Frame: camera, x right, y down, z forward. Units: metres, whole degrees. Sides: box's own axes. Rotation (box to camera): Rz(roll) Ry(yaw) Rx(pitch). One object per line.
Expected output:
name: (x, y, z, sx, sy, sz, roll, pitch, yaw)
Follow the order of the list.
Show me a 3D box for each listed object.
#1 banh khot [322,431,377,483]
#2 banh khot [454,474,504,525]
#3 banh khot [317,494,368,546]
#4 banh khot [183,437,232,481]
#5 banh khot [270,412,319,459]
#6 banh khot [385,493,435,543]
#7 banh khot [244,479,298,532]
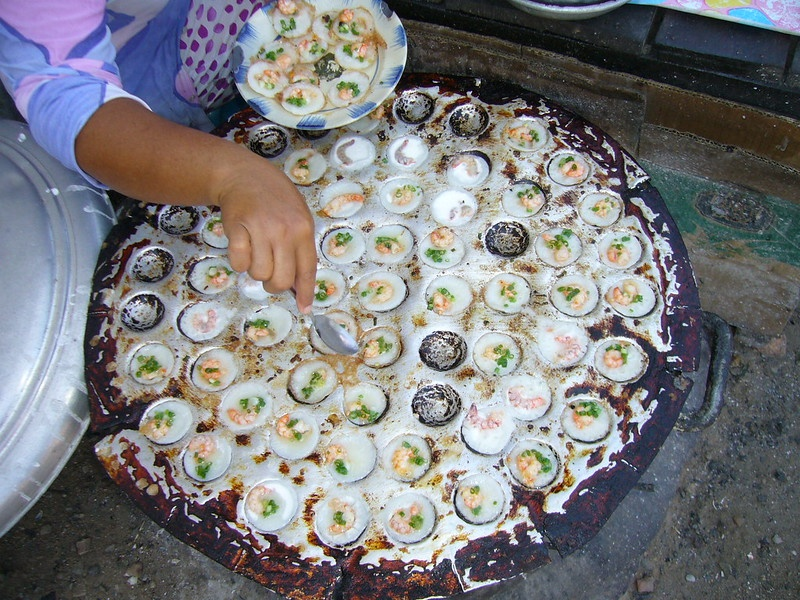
banh khot: (-0.293, 0.946, 4.319, 0.292, 0.071, 0.286, -30, 84, -2)
banh khot: (0.462, 1.174, 4.211, 0.285, 0.067, 0.269, -4, 84, 1)
banh khot: (-0.342, 1.291, 4.210, 0.306, 0.076, 0.295, -6, 84, 1)
banh khot: (-1.154, 0.960, 4.330, 0.281, 0.075, 0.262, 14, 85, 2)
banh khot: (-0.635, 0.831, 4.367, 0.282, 0.063, 0.289, 19, 85, 3)
banh khot: (0.057, 1.281, 4.195, 0.297, 0.073, 0.268, -9, 84, 0)
banh khot: (-0.759, 1.218, 4.239, 0.303, 0.073, 0.294, -45, 85, -3)
